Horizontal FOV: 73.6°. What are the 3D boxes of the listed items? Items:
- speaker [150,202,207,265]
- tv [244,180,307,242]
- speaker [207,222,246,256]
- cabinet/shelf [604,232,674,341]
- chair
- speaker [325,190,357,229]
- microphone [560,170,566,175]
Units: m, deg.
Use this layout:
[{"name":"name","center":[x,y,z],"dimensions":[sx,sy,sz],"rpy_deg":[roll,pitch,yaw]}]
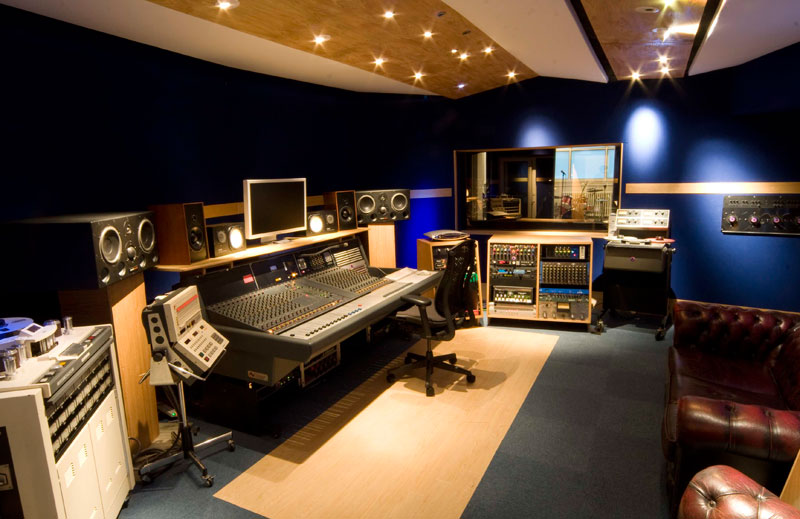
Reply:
[{"name":"speaker","center":[-1.953,-0.229,4.738],"dimensions":[0.427,0.522,0.248],"rpy_deg":[-5,11,-17]},{"name":"tv","center":[-1.238,-0.513,5.382],"dimensions":[0.188,0.595,0.794],"rpy_deg":[5,12,32]},{"name":"speaker","center":[-1.664,-0.195,5.080],"dimensions":[0.204,0.274,0.391],"rpy_deg":[6,13,32]},{"name":"cabinet/shelf","center":[3.065,0.235,6.940],"dimensions":[0.777,1.221,0.710],"rpy_deg":[5,19,33]},{"name":"chair","center":[0.347,0.555,5.535],"dimensions":[0.856,1.487,0.729],"rpy_deg":[-1,11,7]},{"name":"speaker","center":[-0.695,-0.586,6.187],"dimensions":[0.327,0.467,0.345],"rpy_deg":[2,12,23]},{"name":"microphone","center":[2.343,-1.248,7.679],"dimensions":[0.072,0.052,0.021],"rpy_deg":[-1,6,8]}]
